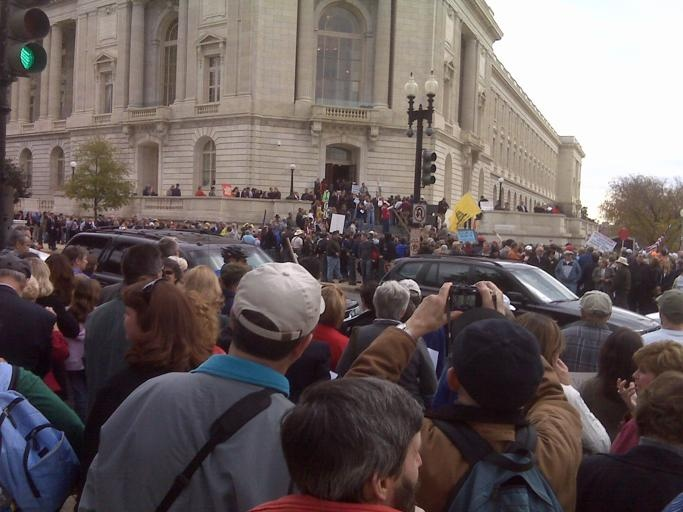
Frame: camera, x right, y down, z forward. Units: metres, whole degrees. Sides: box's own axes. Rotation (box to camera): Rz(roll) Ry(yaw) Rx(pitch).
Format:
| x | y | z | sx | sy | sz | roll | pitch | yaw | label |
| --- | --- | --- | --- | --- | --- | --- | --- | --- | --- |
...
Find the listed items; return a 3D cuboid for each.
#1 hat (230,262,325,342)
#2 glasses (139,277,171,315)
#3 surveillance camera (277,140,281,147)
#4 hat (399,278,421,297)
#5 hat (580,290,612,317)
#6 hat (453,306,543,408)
| x | y | z | sx | sy | sz | roll | pitch | yaw | label |
| --- | --- | --- | --- | --- | --- | --- | --- | --- | --- |
| -0.262 | 0.180 | 3.088 | 0.343 | 0.245 | 0.532 | 4 | 22 | 14 | hat |
| -1.133 | 0.225 | 3.665 | 0.047 | 0.164 | 0.155 | 45 | 26 | 23 | glasses |
| -4.106 | -7.445 | 40.747 | 0.263 | 0.344 | 0.385 | -1 | -17 | -2 | surveillance camera |
| 0.654 | 0.304 | 5.805 | 0.178 | 0.098 | 0.241 | 33 | 5 | 13 | hat |
| 2.613 | 0.466 | 6.347 | 0.205 | 0.180 | 0.314 | 7 | 12 | 17 | hat |
| 0.707 | 0.490 | 2.803 | 0.293 | 0.259 | 0.443 | 4 | 45 | 2 | hat |
